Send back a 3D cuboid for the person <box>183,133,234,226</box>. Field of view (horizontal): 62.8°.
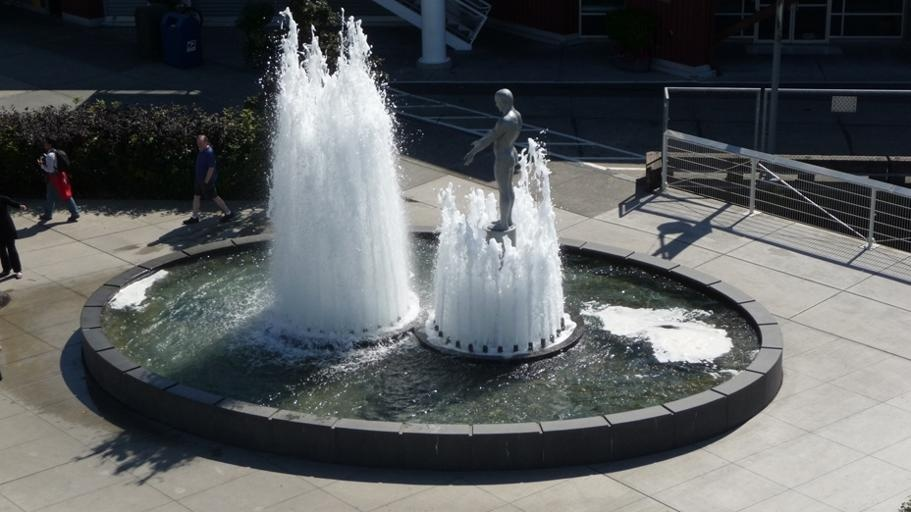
[{"bbox_3d":[-6.048,-1.917,18.246,1.147,2.102,1.136,-3,21,-16],"label":"person"}]

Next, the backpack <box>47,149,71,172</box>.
[{"bbox_3d":[-9.439,-2.310,18.162,0.603,0.545,0.479,0,16,-7],"label":"backpack"}]

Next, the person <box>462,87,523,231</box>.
[{"bbox_3d":[0.779,-1.899,14.479,0.878,2.585,1.319,4,20,3],"label":"person"}]

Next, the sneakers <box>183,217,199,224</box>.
[{"bbox_3d":[-6.379,-0.853,18.122,0.414,0.159,0.140,3,35,8],"label":"sneakers"}]
